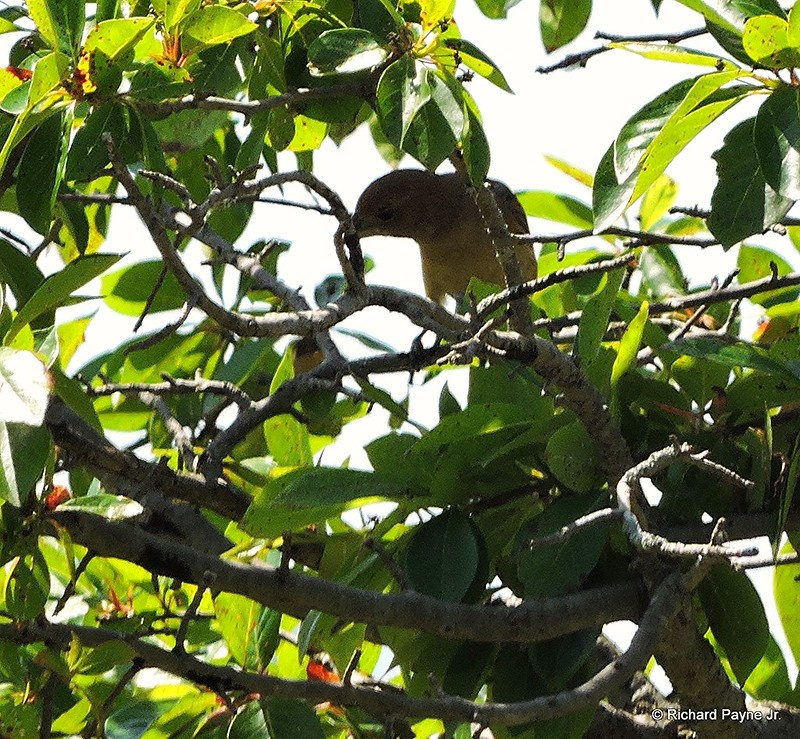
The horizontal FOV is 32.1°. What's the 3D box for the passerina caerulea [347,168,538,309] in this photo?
[{"bbox_3d":[0.076,-0.317,3.215,0.435,0.371,0.261,2,-25,-15],"label":"passerina caerulea"}]
